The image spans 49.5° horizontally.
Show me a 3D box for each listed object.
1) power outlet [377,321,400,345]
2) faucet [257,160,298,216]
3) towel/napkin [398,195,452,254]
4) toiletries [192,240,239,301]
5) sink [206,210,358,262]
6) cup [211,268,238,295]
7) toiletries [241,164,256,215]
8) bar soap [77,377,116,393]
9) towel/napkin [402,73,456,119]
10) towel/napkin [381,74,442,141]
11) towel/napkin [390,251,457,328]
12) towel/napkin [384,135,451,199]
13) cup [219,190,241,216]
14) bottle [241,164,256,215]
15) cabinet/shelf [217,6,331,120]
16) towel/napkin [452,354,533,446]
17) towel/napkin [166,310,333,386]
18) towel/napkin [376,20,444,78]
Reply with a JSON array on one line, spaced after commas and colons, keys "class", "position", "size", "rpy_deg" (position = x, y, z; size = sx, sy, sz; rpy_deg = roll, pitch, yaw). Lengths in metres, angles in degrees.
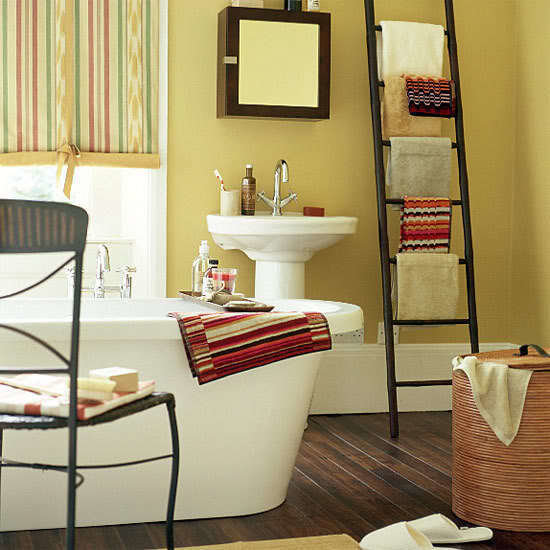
[{"class": "power outlet", "position": [0.608, 0.325, 3.280], "size": [0.109, 0.160, 0.112], "rpy_deg": [1, -2, -5]}, {"class": "faucet", "position": [0.010, -0.428, 3.008], "size": [0.201, 0.268, 0.366], "rpy_deg": [0, 0, 1]}, {"class": "towel/napkin", "position": [0.754, -0.260, 3.026], "size": [0.288, 0.318, 0.043], "rpy_deg": [0, 6, -7]}, {"class": "toiletries", "position": [-0.263, -0.027, 2.566], "size": [0.266, 0.295, 0.164], "rpy_deg": [3, 2, 4]}, {"class": "sink", "position": [0.008, -0.174, 2.822], "size": [0.705, 0.224, 0.288], "rpy_deg": [0, 0, 16]}, {"class": "cup", "position": [-0.210, 0.029, 2.520], "size": [0.087, 0.075, 0.104], "rpy_deg": [0, 1, -5]}, {"class": "toiletries", "position": [-0.139, -0.422, 3.023], "size": [0.074, 0.258, 0.134], "rpy_deg": [0, 1, -3]}, {"class": "bar soap", "position": [-0.374, 0.232, 1.249], "size": [0.045, 0.013, 0.046], "rpy_deg": [4, -3, 6]}, {"class": "towel/napkin", "position": [0.781, -0.897, 3.002], "size": [0.247, 0.181, 0.196], "rpy_deg": [1, 17, -2]}, {"class": "towel/napkin", "position": [0.641, -0.829, 3.034], "size": [0.320, 0.324, 0.088], "rpy_deg": [0, 6, -3]}, {"class": "towel/napkin", "position": [0.742, 0.072, 2.988], "size": [0.363, 0.370, 0.123], "rpy_deg": [0, 2, -8]}, {"class": "towel/napkin", "position": [0.719, -0.544, 3.017], "size": [0.311, 0.303, 0.122], "rpy_deg": [-1, 4, -9]}, {"class": "cup", "position": [-0.220, -0.355, 2.993], "size": [0.103, 0.132, 0.122], "rpy_deg": [1, 2, -2]}, {"class": "bottle", "position": [-0.139, -0.422, 3.023], "size": [0.074, 0.258, 0.134], "rpy_deg": [0, 1, -3]}, {"class": "cabinet/shelf", "position": [-0.015, -1.065, 2.971], "size": [0.539, 0.493, 0.179], "rpy_deg": [0, 3, -13]}, {"class": "towel/napkin", "position": [0.643, 0.368, 1.750], "size": [0.075, 0.224, 0.196], "rpy_deg": [-2, -2, -33]}, {"class": "towel/napkin", "position": [-0.069, 0.197, 1.777], "size": [0.383, 0.240, 0.106], "rpy_deg": [-14, -5, -23]}, {"class": "towel/napkin", "position": [0.704, -1.167, 3.070], "size": [0.315, 0.335, 0.104], "rpy_deg": [-5, 8, -15]}]
